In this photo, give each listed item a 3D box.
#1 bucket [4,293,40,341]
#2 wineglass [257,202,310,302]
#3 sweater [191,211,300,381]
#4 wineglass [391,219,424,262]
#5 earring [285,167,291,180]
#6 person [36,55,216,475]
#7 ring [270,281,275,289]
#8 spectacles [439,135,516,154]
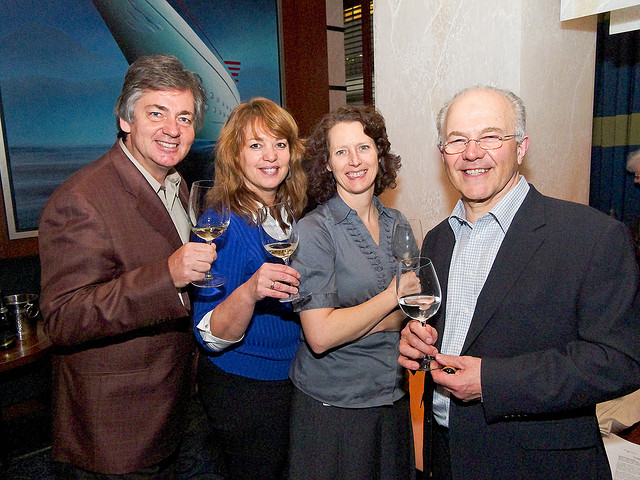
[{"bbox_3d":[-1.937,0.497,3.064,0.175,0.225,0.414,-14,17,-34],"label":"bucket"},{"bbox_3d":[-0.155,0.053,2.002,0.155,0.422,0.158,-15,17,-42],"label":"wineglass"},{"bbox_3d":[-0.264,0.260,2.250,0.338,0.753,0.617,13,6,32],"label":"sweater"},{"bbox_3d":[0.409,-0.016,2.169,0.131,0.189,0.283,0,15,16],"label":"wineglass"},{"bbox_3d":[-0.172,-0.359,2.489,0.050,0.013,0.050,-24,4,35],"label":"earring"},{"bbox_3d":[-0.912,0.107,2.162,0.730,1.847,0.753,-6,14,-8],"label":"person"},{"bbox_3d":[-0.184,0.178,1.813,0.006,0.024,0.017,22,4,3],"label":"ring"},{"bbox_3d":[0.636,-0.387,1.889,0.244,0.063,0.071,-1,15,16],"label":"spectacles"}]
